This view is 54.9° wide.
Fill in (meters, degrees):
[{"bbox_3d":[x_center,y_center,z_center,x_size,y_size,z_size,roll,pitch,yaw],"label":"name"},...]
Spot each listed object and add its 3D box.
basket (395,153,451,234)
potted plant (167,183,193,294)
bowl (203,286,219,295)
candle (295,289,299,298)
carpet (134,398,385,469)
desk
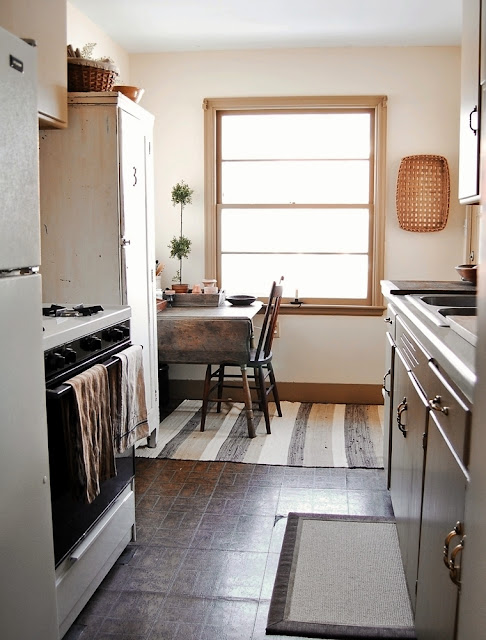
[{"bbox_3d":[1.482,-1.043,3.915,0.386,0.648,0.181,2,9,4],"label":"basket"},{"bbox_3d":[-0.519,-0.745,3.972,0.210,0.883,0.324,-1,5,-10],"label":"potted plant"},{"bbox_3d":[-0.259,-0.245,3.824,0.071,0.077,0.077,-1,10,0],"label":"bowl"},{"bbox_3d":[0.472,-0.234,4.101,0.034,0.087,0.091,2,6,19],"label":"candle"},{"bbox_3d":[0.222,0.797,3.465,1.693,0.051,1.247,1,7,5],"label":"carpet"},{"bbox_3d":[-0.198,0.226,3.768,0.709,1.001,1.003,0,7,7],"label":"desk"}]
